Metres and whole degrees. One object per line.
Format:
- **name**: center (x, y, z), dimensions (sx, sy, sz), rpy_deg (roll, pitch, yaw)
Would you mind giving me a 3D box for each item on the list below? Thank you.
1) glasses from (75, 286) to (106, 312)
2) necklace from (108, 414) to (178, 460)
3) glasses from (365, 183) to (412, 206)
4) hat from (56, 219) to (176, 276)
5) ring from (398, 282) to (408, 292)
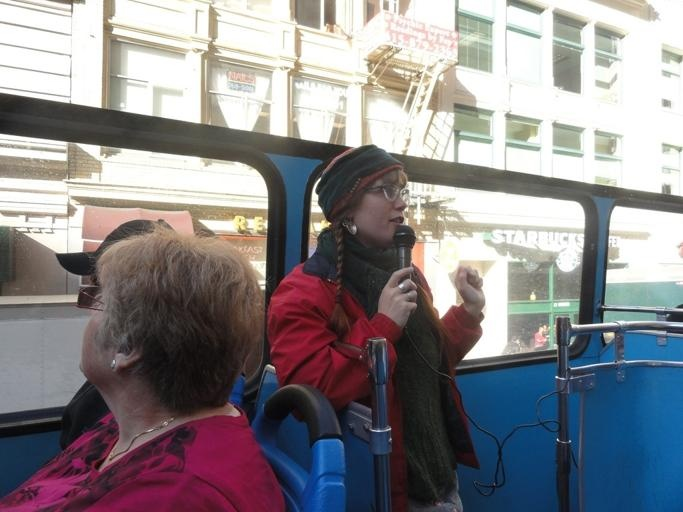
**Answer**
- **glasses**: center (-1.404, 0.238, 4.028), dimensions (0.118, 0.168, 0.185), rpy_deg (3, 6, -7)
- **necklace**: center (-1.043, 0.977, 3.837), dimensions (0.343, 0.053, 0.044), rpy_deg (-39, 30, 17)
- **glasses**: center (0.312, -0.412, 4.530), dimensions (0.164, 0.062, 0.163), rpy_deg (5, -14, -44)
- **hat**: center (-1.381, -0.062, 4.253), dimensions (0.529, 0.228, 0.373), rpy_deg (-9, 6, -2)
- **ring**: center (0.372, 0.185, 4.307), dimensions (0.041, 0.053, 0.033), rpy_deg (4, 9, -30)
